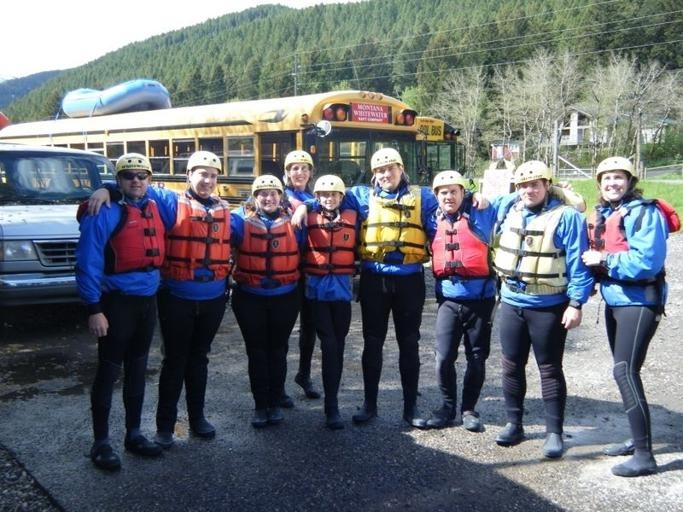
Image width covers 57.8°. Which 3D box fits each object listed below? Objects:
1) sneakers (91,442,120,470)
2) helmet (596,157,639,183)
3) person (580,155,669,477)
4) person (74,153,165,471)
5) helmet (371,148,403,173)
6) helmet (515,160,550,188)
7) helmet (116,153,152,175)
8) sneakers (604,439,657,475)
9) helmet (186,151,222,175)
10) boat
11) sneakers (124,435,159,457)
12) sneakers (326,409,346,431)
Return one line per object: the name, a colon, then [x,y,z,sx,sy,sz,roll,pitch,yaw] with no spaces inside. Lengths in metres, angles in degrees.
sneakers: [-1.959,1.668,5.142,0.133,0.130,0.345,-1,0,-36]
helmet: [2.408,-0.808,5.442,0.232,0.226,0.304,-4,-18,32]
person: [2.433,0.452,5.279,0.672,2.521,1.094,0,12,-1]
person: [-1.895,0.437,5.327,0.682,2.553,0.993,-1,12,-8]
helmet: [0.456,-1.005,6.366,0.261,0.166,0.337,-14,-12,5]
helmet: [1.734,-0.741,5.603,0.216,0.211,0.284,-7,-34,15]
helmet: [-1.879,-0.837,5.544,0.221,0.224,0.297,-5,-3,-36]
sneakers: [2.351,1.696,5.118,0.523,0.208,0.159,4,-10,-27]
helmet: [-1.307,-0.922,5.895,0.248,0.248,0.325,-4,-6,-23]
boat: [-7.058,-4.564,18.295,2.442,0.753,1.808,-2,11,20]
sneakers: [-1.741,1.658,5.455,0.361,0.141,0.135,6,5,26]
sneakers: [-0.059,1.573,5.943,0.184,0.141,0.212,0,12,-3]
